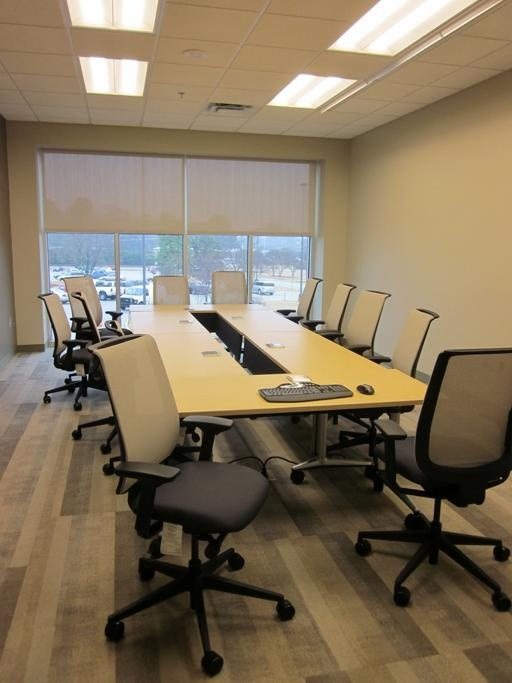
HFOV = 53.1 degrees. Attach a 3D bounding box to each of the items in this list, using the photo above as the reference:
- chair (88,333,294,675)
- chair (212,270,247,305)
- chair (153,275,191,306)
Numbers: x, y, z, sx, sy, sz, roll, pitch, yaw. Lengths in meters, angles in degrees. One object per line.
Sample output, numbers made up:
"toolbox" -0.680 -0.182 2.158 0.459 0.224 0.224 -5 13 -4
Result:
"chair" -0.247 0.520 1.946 0.686 1.039 0.876 -2 9 -20
"chair" -0.468 -0.757 7.154 0.492 0.570 0.469 -1 7 -11
"chair" -1.171 -0.669 6.916 0.452 0.608 0.455 -1 6 -16
